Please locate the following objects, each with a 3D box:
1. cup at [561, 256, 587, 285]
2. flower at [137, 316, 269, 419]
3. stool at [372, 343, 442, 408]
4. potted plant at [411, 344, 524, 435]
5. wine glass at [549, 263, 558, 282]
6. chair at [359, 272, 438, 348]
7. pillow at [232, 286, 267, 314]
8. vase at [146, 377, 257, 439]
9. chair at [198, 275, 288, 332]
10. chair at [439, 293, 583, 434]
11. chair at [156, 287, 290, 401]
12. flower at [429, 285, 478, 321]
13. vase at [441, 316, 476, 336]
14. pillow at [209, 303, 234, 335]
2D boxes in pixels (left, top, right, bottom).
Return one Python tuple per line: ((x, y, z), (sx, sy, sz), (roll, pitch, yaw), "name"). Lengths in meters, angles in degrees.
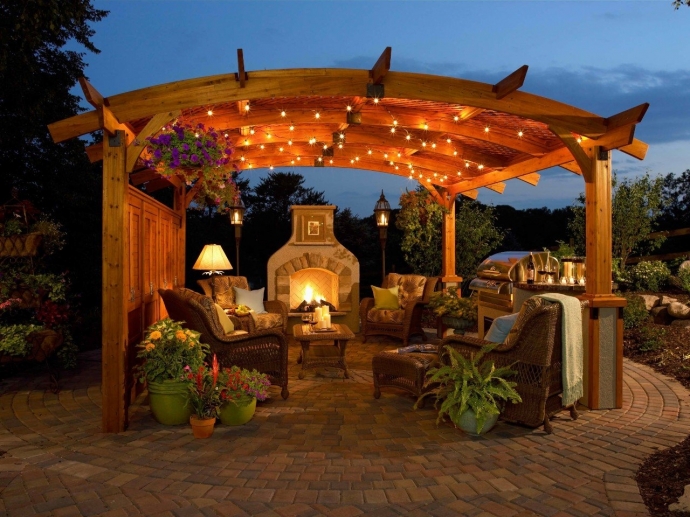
((3.363, 0.181, 7.167), (0.408, 0.478, 0.393), (1, -1, 0), "cup")
((-1.681, 1.344, 5.929), (1.349, 0.881, 1.288), (10, -13, -29), "flower")
((0.804, 1.434, 6.512), (0.744, 0.468, 1.016), (0, 0, 31), "stool")
((1.465, 1.473, 5.891), (1.073, 0.699, 1.004), (-3, 2, -11), "potted plant")
((3.221, 0.222, 7.498), (0.143, 0.250, 0.296), (2, 5, 25), "wine glass")
((1.099, 1.041, 10.366), (1.332, 1.322, 1.531), (0, 0, -44), "chair")
((-1.885, 0.819, 9.600), (0.522, 0.469, 0.183), (0, -23, -13), "pillow")
((-1.663, 1.682, 5.600), (1.007, 0.362, 0.648), (0, -3, 1), "vase")
((-1.895, 0.944, 9.559), (1.533, 1.038, 1.424), (2, 5, 11), "chair")
((2.161, 1.268, 6.161), (1.286, 1.481, 1.581), (3, -6, -40), "chair")
((-1.682, 1.017, 6.974), (1.753, 1.501, 1.321), (1, 0, -24), "chair")
((2.126, 0.843, 9.617), (0.632, 0.374, 0.647), (6, 7, 41), "flower")
((2.268, 1.300, 9.707), (0.599, 0.398, 0.589), (0, -3, 18), "vase")
((-1.763, 0.882, 7.043), (0.136, 0.455, 0.485), (-29, 13, -9), "pillow")
